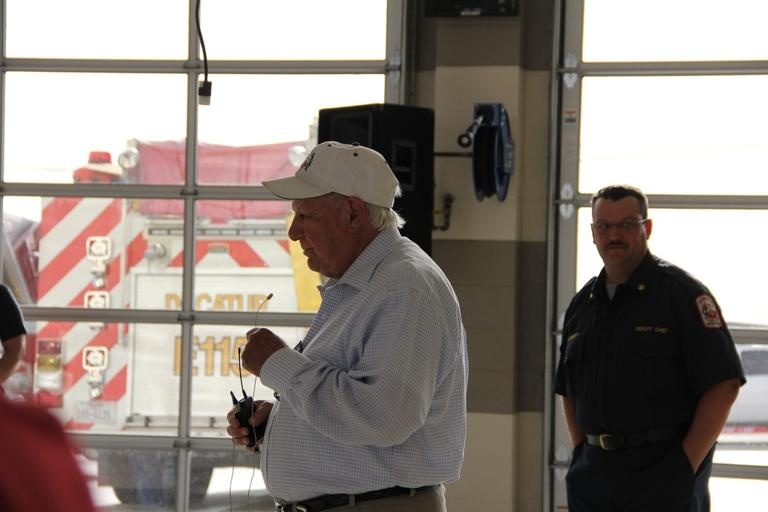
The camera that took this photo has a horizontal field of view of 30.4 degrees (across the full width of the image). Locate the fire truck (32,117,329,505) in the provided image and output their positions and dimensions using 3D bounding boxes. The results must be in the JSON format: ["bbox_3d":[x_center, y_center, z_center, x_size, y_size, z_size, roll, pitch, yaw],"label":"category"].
[{"bbox_3d":[-1.334,0.596,9.740,1.535,2.723,1.598,-1,-12,5],"label":"fire truck"}]

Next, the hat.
[{"bbox_3d":[-0.229,-0.387,7.252,0.542,0.278,0.342,11,2,-1],"label":"hat"}]
